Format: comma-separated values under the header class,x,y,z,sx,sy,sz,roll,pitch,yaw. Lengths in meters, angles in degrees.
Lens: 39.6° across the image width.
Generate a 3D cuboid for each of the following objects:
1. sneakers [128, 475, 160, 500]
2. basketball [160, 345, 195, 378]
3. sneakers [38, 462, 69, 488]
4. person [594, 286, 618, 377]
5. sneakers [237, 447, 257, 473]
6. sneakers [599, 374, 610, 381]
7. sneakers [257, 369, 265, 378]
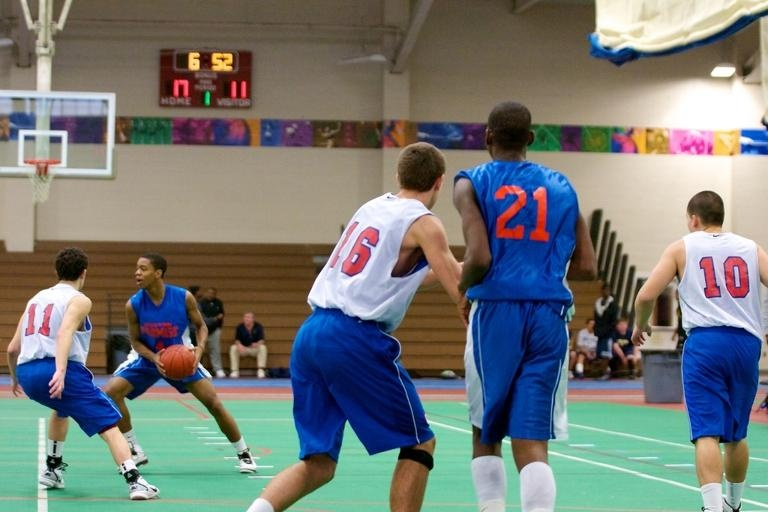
class,x,y,z,sx,sy,sz,roll,pitch,yaw
sneakers,-2.879,2.831,12.989,0.461,0.268,0.185,4,-5,-39
basketball,-2.623,1.337,13.676,0.414,0.415,0.409,-4,-3,-25
sneakers,-4.126,2.782,13.478,0.187,0.238,0.514,8,-7,5
person,5.228,1.848,25.783,0.635,2.168,0.615,-11,20,-27
sneakers,-1.751,2.726,14.070,0.154,0.287,0.433,-4,-15,0
sneakers,5.295,2.889,25.650,0.228,0.125,0.336,1,4,11
sneakers,-2.852,2.749,24.996,0.188,0.177,0.190,-1,-2,4
